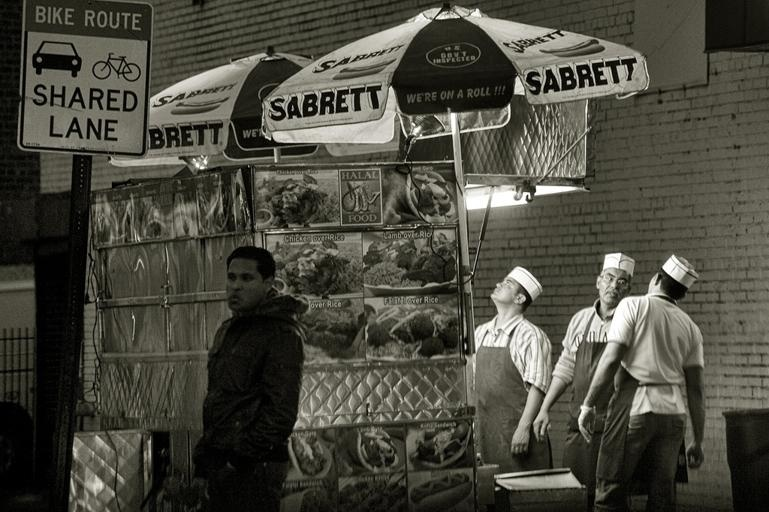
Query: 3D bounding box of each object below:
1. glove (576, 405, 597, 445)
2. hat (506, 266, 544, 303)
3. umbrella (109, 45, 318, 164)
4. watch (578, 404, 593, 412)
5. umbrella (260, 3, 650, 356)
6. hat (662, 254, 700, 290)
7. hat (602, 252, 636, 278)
[{"bbox_3d":[2.003,1.676,12.784,0.109,0.357,0.246,5,8,0],"label":"glove"},{"bbox_3d":[1.460,0.250,13.397,0.389,0.218,0.344,48,-3,13],"label":"hat"},{"bbox_3d":[-1.550,-1.456,13.190,1.511,0.733,1.533,-6,-3,44],"label":"umbrella"},{"bbox_3d":[1.988,1.509,12.738,0.075,0.065,0.080,0,-2,31],"label":"watch"},{"bbox_3d":[0.583,-0.762,11.790,2.636,2.615,2.731,2,-4,-27],"label":"umbrella"},{"bbox_3d":[2.930,0.132,12.793,0.174,0.314,0.293,-41,-48,20],"label":"hat"},{"bbox_3d":[2.541,0.090,13.826,0.236,0.192,0.322,13,-24,22],"label":"hat"}]
